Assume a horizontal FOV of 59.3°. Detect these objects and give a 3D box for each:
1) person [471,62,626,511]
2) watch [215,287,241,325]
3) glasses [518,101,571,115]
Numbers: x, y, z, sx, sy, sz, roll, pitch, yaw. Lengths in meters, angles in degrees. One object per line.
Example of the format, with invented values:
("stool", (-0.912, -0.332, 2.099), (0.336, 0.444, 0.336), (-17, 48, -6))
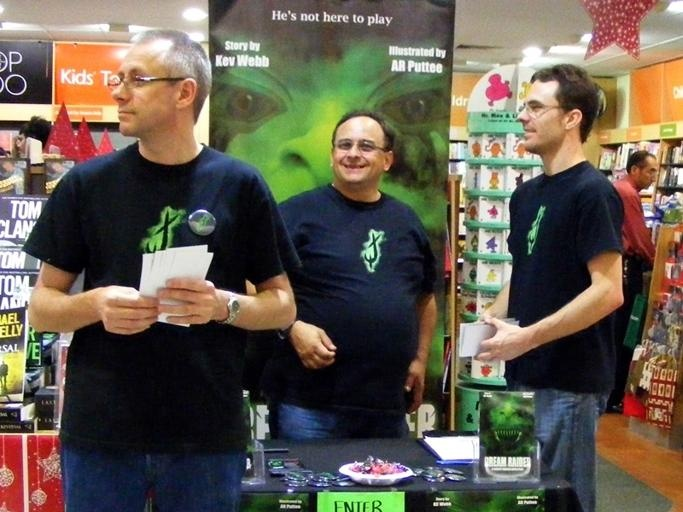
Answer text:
("person", (0.880, 0.116, 2.554), (0.567, 1.937, 0.747), (4, 7, 28))
("watch", (-0.329, 0.151, 1.739), (0.066, 0.072, 0.043), (-14, -9, 36))
("glasses", (0.891, -0.650, 2.612), (0.197, 0.057, 0.192), (1, 6, -7))
